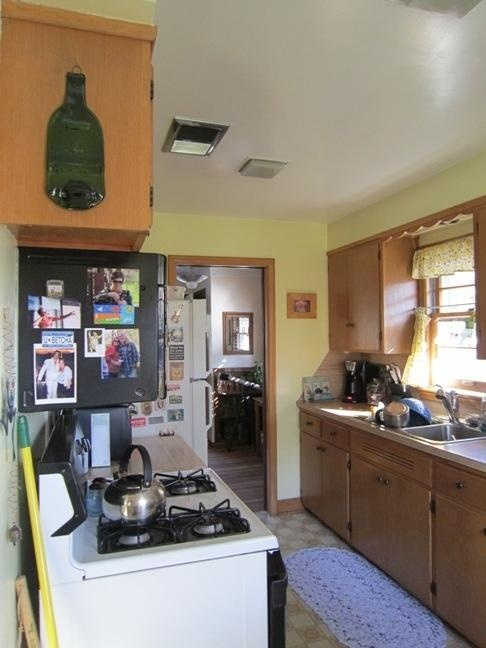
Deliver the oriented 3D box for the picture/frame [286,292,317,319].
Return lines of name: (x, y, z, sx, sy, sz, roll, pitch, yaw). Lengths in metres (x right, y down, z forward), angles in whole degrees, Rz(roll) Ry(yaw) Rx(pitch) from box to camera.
picture/frame: (0.430, -0.145, 4.095, 0.204, 0.170, 0.013, -1, -1, -22)

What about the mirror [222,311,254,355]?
mirror: (-0.093, 0.144, 7.539, 0.589, 0.775, 0.052, 1, -11, -16)

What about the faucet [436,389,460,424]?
faucet: (1.129, 0.445, 2.949, 0.109, 0.193, 0.143, -3, 0, 31)

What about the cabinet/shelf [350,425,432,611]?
cabinet/shelf: (0.907, 0.963, 2.893, 0.357, 0.714, 0.770, -1, 0, -19)

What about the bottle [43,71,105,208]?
bottle: (-0.333, -0.364, 1.055, 0.110, 0.268, 0.020, -3, 0, -20)

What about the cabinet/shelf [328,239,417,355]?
cabinet/shelf: (0.880, -0.186, 3.577, 0.315, 0.788, 0.813, 2, -3, -14)

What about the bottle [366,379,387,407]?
bottle: (0.907, 0.468, 3.678, 0.122, 0.178, 0.206, -3, 0, 13)

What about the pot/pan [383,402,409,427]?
pot/pan: (0.839, 0.497, 2.923, 0.148, 0.140, 0.137, -3, 0, 0)

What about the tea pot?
tea pot: (-0.285, 0.414, 1.404, 0.155, 0.198, 0.139, -3, 0, -25)

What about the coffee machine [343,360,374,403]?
coffee machine: (0.848, 0.427, 4.034, 0.193, 0.313, 0.245, -3, 0, 16)
